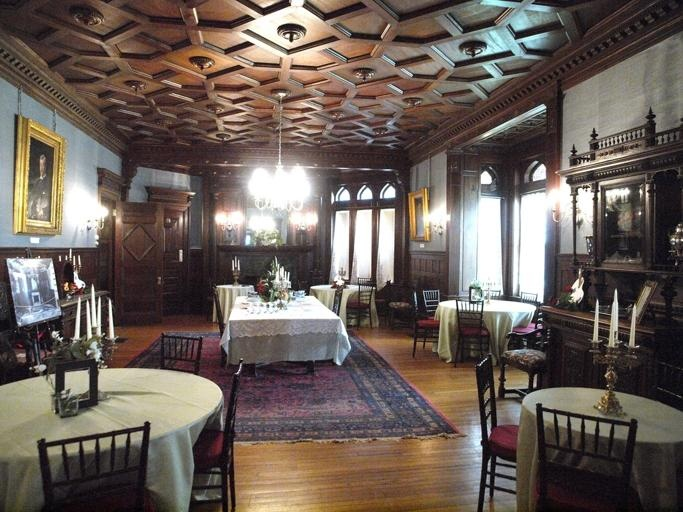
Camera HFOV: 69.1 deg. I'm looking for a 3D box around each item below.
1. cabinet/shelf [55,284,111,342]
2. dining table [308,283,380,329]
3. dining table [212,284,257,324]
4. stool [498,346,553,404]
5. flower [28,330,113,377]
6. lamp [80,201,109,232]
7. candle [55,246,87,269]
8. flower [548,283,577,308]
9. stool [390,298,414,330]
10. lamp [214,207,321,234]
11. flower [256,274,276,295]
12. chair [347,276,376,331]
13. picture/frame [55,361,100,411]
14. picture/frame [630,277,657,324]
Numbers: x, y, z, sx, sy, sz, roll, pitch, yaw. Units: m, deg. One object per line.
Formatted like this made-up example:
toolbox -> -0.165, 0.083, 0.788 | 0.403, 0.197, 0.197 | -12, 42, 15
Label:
cabinet/shelf -> -3.536, 0.752, 6.647 | 0.419, 0.996, 1.071 | 0, 3, -7
dining table -> -0.033, 1.195, 11.521 | 1.132, 0.647, 1.151 | 0, -3, 5
dining table -> -2.523, 1.106, 11.528 | 0.916, 0.849, 0.961 | 0, -4, 3
stool -> 2.555, 1.604, 6.799 | 0.678, 0.650, 0.684 | 0, 0, -30
flower -> -2.338, 0.801, 4.170 | 0.310, 0.263, 0.475 | 11, 21, 37
lamp -> -5.115, -0.798, 10.167 | 0.549, 0.927, 0.548 | -4, 8, -44
candle -> -4.860, 0.033, 8.897 | 0.383, 0.201, 0.361 | -3, -6, 42
flower -> 2.916, 0.557, 6.380 | 0.370, 0.272, 0.380 | 8, -6, 4
stool -> 1.424, 1.456, 12.090 | 0.600, 1.007, 0.584 | 2, -2, -14
lamp -> -2.083, -0.974, 13.584 | 2.775, 0.622, 0.419 | 1, 2, -2
flower -> -1.245, 0.469, 8.044 | 0.340, 0.224, 0.339 | 3, -5, -19
chair -> 0.311, 1.143, 11.624 | 0.744, 1.231, 0.656 | -1, -8, -24
picture/frame -> -2.155, 1.060, 4.019 | 0.390, 0.458, 0.032 | -1, 3, -17
picture/frame -> 3.226, 0.483, 5.305 | 0.154, 0.543, 0.154 | 22, 3, -24
